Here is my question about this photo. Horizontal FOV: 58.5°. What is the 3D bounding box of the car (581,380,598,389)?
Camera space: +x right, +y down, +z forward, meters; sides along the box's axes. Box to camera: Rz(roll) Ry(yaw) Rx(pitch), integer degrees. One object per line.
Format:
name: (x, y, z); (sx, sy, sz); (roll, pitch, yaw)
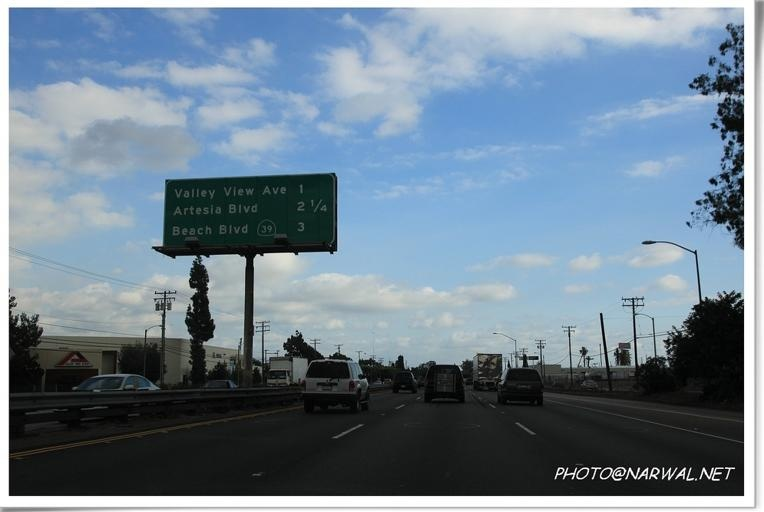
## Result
car: (29.251, 18.215, 95.823); (1.266, 0.917, 2.770); (0, -3, 1)

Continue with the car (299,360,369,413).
car: (-2.323, 5.995, 31.494); (2.692, 2.400, 1.458); (1, -11, -9)

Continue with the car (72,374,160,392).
car: (-11.650, 5.479, 29.516); (1.938, 0.678, 3.420); (-3, -12, 9)
